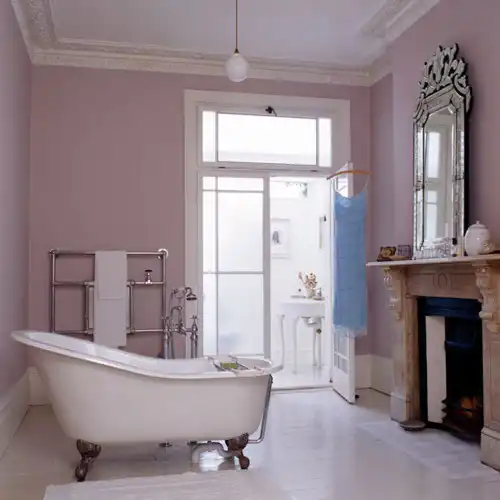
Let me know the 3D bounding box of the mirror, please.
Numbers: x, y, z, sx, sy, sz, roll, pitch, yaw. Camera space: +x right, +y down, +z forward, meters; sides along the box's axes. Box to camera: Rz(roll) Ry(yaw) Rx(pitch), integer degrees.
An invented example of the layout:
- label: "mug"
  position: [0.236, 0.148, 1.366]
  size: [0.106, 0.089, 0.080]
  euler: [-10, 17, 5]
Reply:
- label: "mirror"
  position: [1.304, -0.667, 3.469]
  size: [0.202, 1.198, 0.616]
  euler: [0, -1, -5]

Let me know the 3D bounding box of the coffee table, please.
- label: "coffee table"
  position: [0.565, 0.964, 5.742]
  size: [0.624, 0.781, 0.651]
  euler: [4, -7, -24]

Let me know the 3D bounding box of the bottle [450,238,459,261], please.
- label: "bottle"
  position: [1.304, -0.016, 3.203]
  size: [0.037, 0.108, 0.140]
  euler: [-1, -1, 21]

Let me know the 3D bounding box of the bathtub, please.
- label: "bathtub"
  position: [-0.584, 0.879, 2.995]
  size: [1.453, 0.811, 0.561]
  euler: [0, -1, -8]
